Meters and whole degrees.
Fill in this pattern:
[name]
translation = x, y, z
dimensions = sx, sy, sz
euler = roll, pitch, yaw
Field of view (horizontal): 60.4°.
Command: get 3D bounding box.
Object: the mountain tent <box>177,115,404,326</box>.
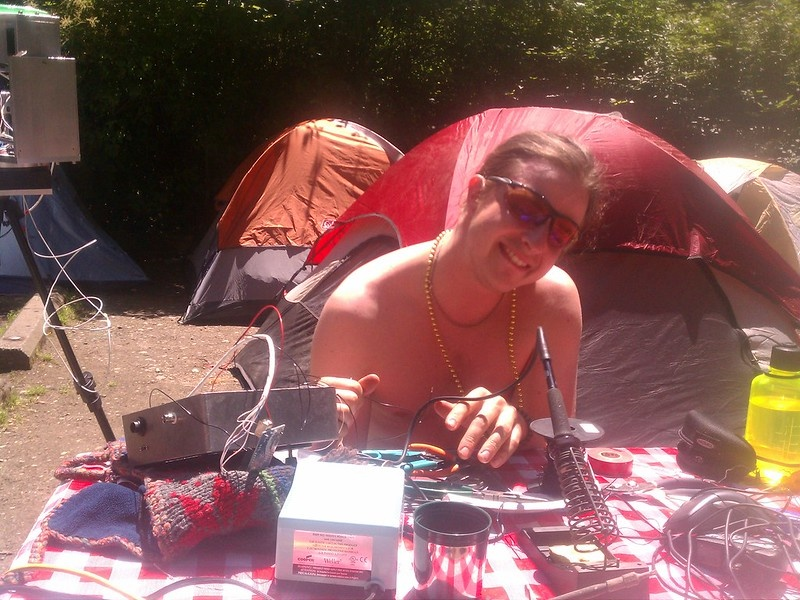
[mountain tent]
translation = -1.071, -0.850, 6.613
dimensions = 1.966, 1.356, 1.875
euler = 11, 22, 19

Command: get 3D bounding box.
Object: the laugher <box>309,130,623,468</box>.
[laugher]
translation = 0.170, 0.063, 2.196
dimensions = 0.812, 1.226, 1.129
euler = 10, 9, 6
